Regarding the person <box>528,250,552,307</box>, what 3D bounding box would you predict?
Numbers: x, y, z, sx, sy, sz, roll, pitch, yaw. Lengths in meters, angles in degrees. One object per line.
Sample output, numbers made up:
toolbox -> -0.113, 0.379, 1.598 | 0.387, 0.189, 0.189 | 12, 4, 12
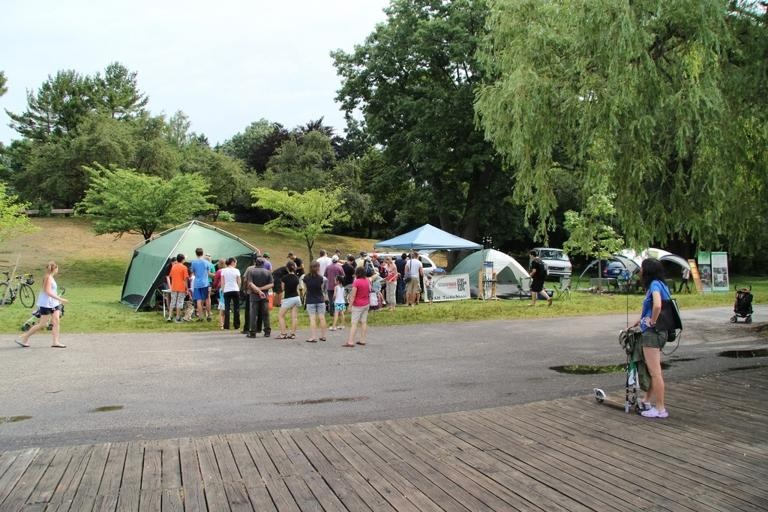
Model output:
person -> 6.045, 0.838, 24.263 | 0.823, 2.078, 1.316 | 1, 6, 14

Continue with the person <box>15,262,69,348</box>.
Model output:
person -> -8.155, 1.244, 15.385 | 1.352, 2.501, 0.868 | 0, 1, -13

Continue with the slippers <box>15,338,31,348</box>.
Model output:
slippers -> -8.685, 2.099, 15.116 | 0.384, 0.162, 0.141 | 9, 12, 23

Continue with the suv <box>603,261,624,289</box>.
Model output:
suv -> 12.447, 1.024, 34.139 | 1.076, 0.881, 2.352 | 3, 10, 21

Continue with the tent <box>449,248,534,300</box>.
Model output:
tent -> 5.128, 0.788, 28.866 | 3.012, 2.224, 4.129 | 0, 6, 2

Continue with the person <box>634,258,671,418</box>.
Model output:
person -> 4.557, 1.397, 10.561 | 0.626, 2.505, 0.546 | 0, -1, -13
